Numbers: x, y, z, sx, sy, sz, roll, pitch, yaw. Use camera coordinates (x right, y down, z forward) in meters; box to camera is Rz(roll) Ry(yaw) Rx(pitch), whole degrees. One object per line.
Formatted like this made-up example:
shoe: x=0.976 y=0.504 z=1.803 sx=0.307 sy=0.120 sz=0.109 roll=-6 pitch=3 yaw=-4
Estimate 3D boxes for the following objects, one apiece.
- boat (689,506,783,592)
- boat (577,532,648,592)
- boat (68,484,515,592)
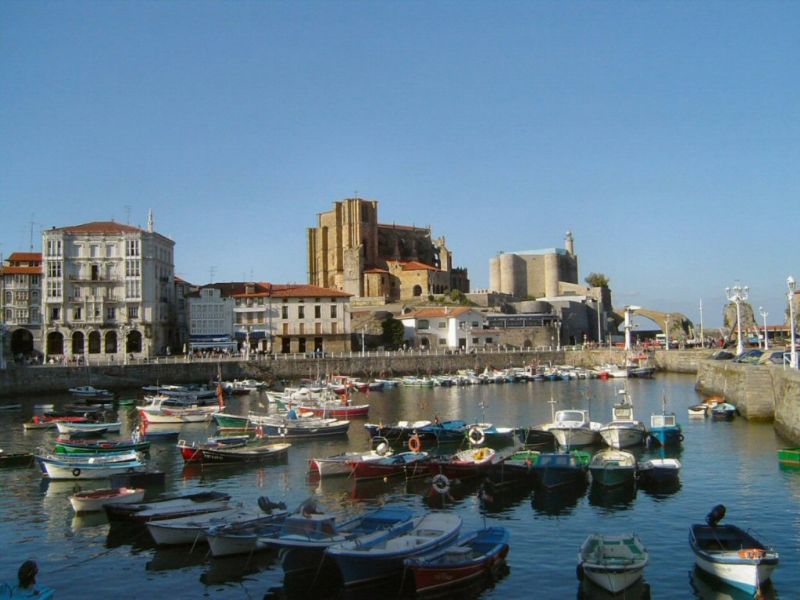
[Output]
boat: x=11.902 y=9.293 z=33.673 sx=2.514 sy=2.063 sz=2.803 roll=-2 pitch=-5 yaw=-1
boat: x=7.610 y=9.398 z=33.287 sx=2.428 sy=1.751 sz=2.135 roll=2 pitch=-6 yaw=-37
boat: x=-1.667 y=9.156 z=35.224 sx=10.596 sy=3.067 sz=4.433 roll=-4 pitch=-5 yaw=20
